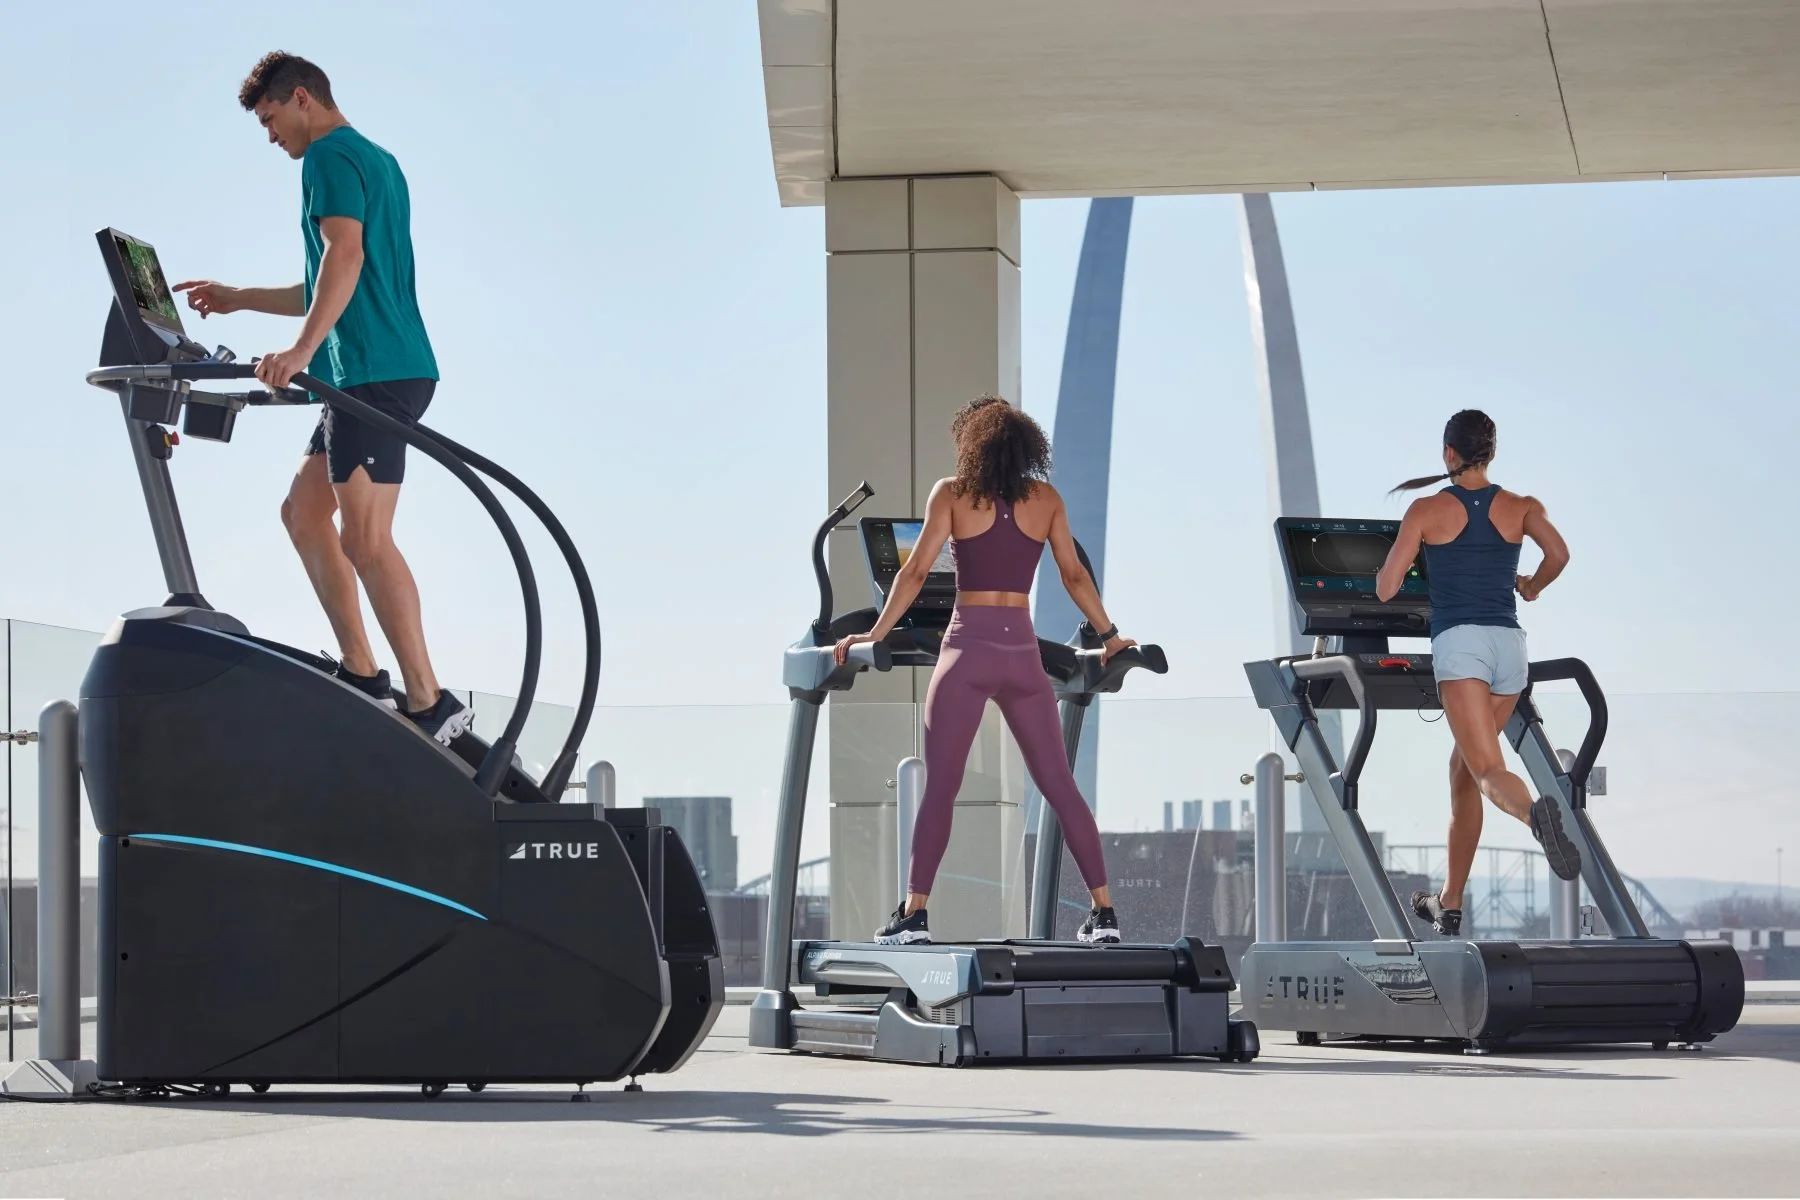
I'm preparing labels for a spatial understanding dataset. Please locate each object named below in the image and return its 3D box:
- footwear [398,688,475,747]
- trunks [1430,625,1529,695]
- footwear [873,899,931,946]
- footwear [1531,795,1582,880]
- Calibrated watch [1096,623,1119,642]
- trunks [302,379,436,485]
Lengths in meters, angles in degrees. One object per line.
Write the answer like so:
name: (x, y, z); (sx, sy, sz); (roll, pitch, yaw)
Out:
footwear: (-1.647, 0.392, 10.410); (0.185, 0.116, 0.339); (21, 9, -17)
trunks: (2.396, 0.228, 11.748); (0.395, 0.297, 0.274); (3, -3, -3)
footwear: (-0.017, 1.317, 11.554); (0.109, 0.143, 0.277); (12, -13, -32)
footwear: (2.614, 0.943, 11.512); (0.154, 0.386, 0.145); (-16, -4, -21)
Calibrated watch: (0.842, 0.123, 11.605); (0.072, 0.078, 0.075); (-2, -2, -28)
trunks: (-1.922, -0.656, 10.616); (0.316, 0.412, 0.538); (2, 3, -7)
